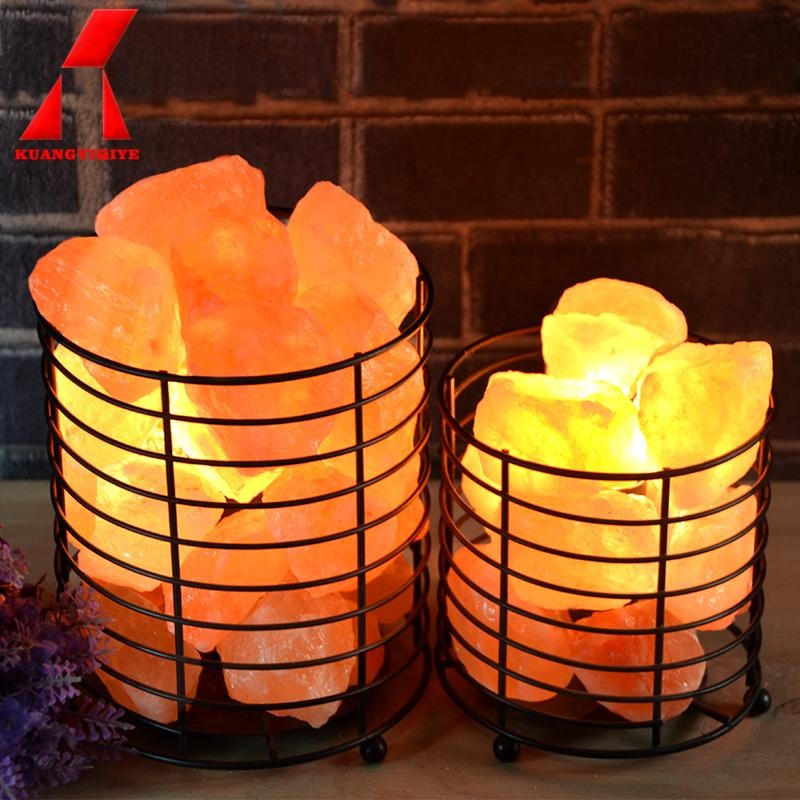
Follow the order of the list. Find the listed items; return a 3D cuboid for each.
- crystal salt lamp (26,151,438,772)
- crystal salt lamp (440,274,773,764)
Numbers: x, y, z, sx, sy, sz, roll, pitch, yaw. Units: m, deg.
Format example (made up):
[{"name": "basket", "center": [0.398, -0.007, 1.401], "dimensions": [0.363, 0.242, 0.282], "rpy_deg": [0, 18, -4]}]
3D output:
[{"name": "crystal salt lamp", "center": [-0.091, 0.031, 0.836], "dimensions": [0.245, 0.336, 0.184], "rpy_deg": [-5, 21, -6]}, {"name": "crystal salt lamp", "center": [0.125, 0.056, 0.885], "dimensions": [0.214, 0.253, 0.240], "rpy_deg": [-2, 20, 1]}]
